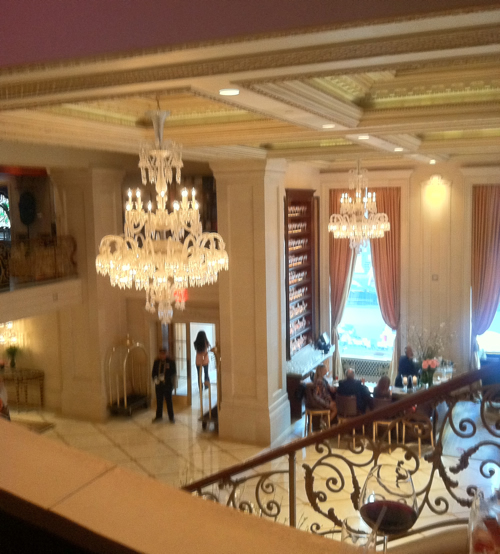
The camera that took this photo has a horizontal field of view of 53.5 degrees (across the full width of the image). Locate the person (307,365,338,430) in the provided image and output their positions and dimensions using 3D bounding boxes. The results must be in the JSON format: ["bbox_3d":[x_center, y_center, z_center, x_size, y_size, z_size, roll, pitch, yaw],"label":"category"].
[{"bbox_3d":[1.425,2.401,9.753,0.506,1.443,0.576,-5,3,-41],"label":"person"}]

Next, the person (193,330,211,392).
[{"bbox_3d":[-1.074,1.857,11.530,0.391,1.592,0.441,0,24,-3],"label":"person"}]

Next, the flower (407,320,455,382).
[{"bbox_3d":[3.896,1.631,11.289,1.001,1.666,1.019,-2,-5,36],"label":"flower"}]

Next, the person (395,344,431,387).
[{"bbox_3d":[3.313,1.883,10.333,0.579,0.895,1.249,1,-12,17],"label":"person"}]

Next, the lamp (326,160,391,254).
[{"bbox_3d":[2.404,-1.539,11.297,1.468,3.138,1.722,0,8,6],"label":"lamp"}]

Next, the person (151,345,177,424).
[{"bbox_3d":[-1.822,2.293,10.574,0.494,1.577,0.405,1,-9,14],"label":"person"}]

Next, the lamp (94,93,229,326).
[{"bbox_3d":[-0.981,-0.673,5.640,1.311,2.506,1.309,-7,7,-41],"label":"lamp"}]
